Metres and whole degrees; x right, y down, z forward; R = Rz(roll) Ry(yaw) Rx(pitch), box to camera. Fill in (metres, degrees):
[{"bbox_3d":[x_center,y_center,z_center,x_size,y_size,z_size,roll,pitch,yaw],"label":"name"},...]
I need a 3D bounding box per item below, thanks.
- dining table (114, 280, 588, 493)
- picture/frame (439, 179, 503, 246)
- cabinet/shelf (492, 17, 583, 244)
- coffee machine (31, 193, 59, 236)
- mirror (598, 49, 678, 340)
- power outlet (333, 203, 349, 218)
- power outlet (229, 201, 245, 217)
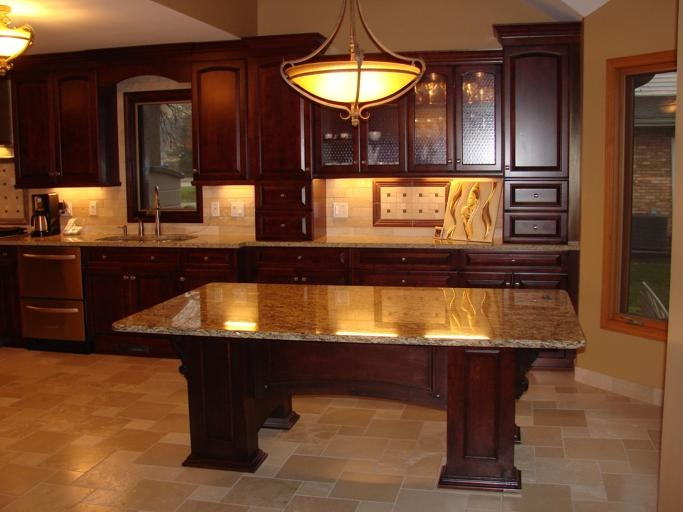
[{"bbox_3d":[0.102,0.802,3.349,2.336,1.044,0.963,1,13,10],"label":"dining table"},{"bbox_3d":[1.213,-0.392,5.179,0.650,0.697,0.035,7,-6,29],"label":"picture/frame"},{"bbox_3d":[1.722,-1.052,4.920,0.748,1.858,0.272,2,14,12],"label":"cabinet/shelf"},{"bbox_3d":[-3.133,-0.435,5.960,0.355,0.433,0.259,-13,17,-41],"label":"coffee machine"},{"bbox_3d":[2.310,-0.470,4.441,0.406,2.170,0.611,1,14,8],"label":"mirror"},{"bbox_3d":[0.000,-0.455,5.644,0.158,0.131,0.049,1,9,8],"label":"power outlet"},{"bbox_3d":[-1.077,-0.485,5.809,0.186,0.165,0.023,1,2,5],"label":"power outlet"}]
